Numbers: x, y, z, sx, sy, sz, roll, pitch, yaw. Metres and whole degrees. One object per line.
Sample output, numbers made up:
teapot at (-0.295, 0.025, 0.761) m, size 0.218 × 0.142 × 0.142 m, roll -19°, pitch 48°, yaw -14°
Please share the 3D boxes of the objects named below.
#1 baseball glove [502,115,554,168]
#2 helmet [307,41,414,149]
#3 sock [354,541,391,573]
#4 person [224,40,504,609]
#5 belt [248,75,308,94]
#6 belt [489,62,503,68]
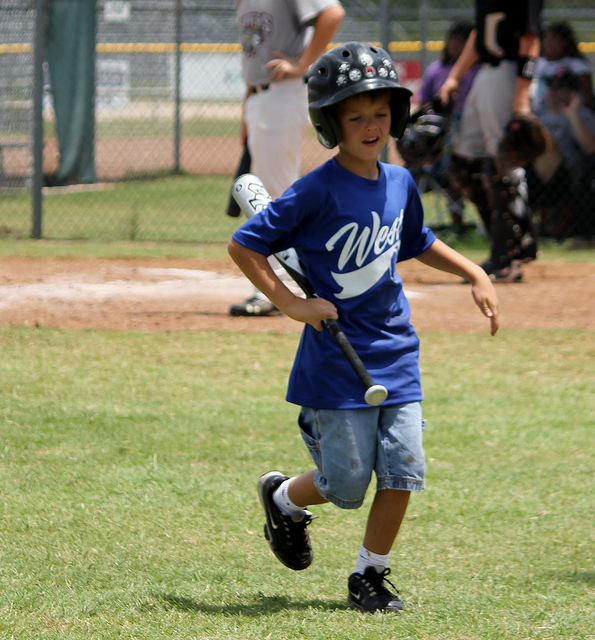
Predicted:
baseball glove at (1.295, -1.007, 5.516) m, size 0.169 × 0.295 × 0.263 m, roll 13°, pitch 17°, yaw 33°
helmet at (0.148, -0.545, 2.342) m, size 0.268 × 0.191 × 0.248 m, roll -2°, pitch 17°, yaw 11°
sock at (0.169, 0.557, 2.252) m, size 0.069 × 0.062 × 0.044 m, roll 7°, pitch 15°, yaw 16°
person at (0.201, -0.059, 2.671) m, size 0.658 × 1.310 × 1.323 m, roll 5°, pitch 13°, yaw 6°
belt at (-0.096, -1.100, 4.572) m, size 0.398 × 0.088 × 0.129 m, roll 10°, pitch 15°, yaw 36°
belt at (1.114, -1.442, 5.525) m, size 0.041 × 0.031 × 0.007 m, roll 6°, pitch 61°, yaw -6°
